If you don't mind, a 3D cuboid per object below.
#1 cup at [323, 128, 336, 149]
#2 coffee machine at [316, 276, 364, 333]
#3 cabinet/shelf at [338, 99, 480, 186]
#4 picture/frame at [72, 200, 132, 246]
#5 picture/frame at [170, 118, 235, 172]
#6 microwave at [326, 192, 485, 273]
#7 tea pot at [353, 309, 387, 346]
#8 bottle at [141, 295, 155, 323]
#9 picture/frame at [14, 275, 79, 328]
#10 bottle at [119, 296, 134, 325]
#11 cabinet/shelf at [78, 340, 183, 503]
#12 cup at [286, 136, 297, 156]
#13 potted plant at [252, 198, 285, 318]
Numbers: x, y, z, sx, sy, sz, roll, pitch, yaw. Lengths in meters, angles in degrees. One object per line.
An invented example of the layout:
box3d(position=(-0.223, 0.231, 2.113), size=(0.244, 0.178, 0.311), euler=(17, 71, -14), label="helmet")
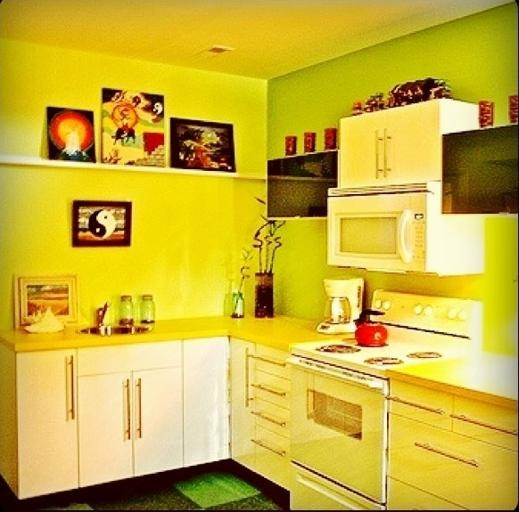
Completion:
box3d(position=(0.457, -0.759, 3.060), size=(0.074, 0.162, 0.244), euler=(-5, 7, 6), label="cup")
box3d(position=(0.486, 0.304, 3.017), size=(0.321, 0.388, 0.312), euler=(4, -3, -35), label="coffee machine")
box3d(position=(0.745, -0.585, 2.504), size=(0.253, 0.408, 0.686), euler=(-11, 9, -40), label="cabinet/shelf")
box3d(position=(-1.120, -0.236, 3.324), size=(0.335, 0.284, 0.037), euler=(0, 1, -33), label="picture/frame")
box3d(position=(-0.468, -0.872, 3.706), size=(0.485, 0.341, 0.032), euler=(0, -2, -31), label="picture/frame")
box3d(position=(0.702, -0.135, 2.500), size=(0.815, 0.460, 0.360), euler=(2, 10, 45), label="microwave")
box3d(position=(0.620, 0.403, 2.689), size=(0.197, 0.200, 0.196), euler=(-1, -1, 0), label="tea pot")
box3d(position=(-0.804, 0.375, 3.391), size=(0.103, 0.193, 0.203), euler=(-7, 7, -13), label="bottle")
box3d(position=(-1.412, 0.296, 3.103), size=(0.351, 0.296, 0.027), euler=(1, -4, -30), label="picture/frame")
box3d(position=(-0.934, 0.377, 3.336), size=(0.109, 0.184, 0.263), euler=(-7, 7, -15), label="bottle")
box3d(position=(-0.871, 1.000, 3.268), size=(0.808, 1.096, 0.728), euler=(1, -3, -33), label="cabinet/shelf")
box3d(position=(0.220, -0.775, 3.330), size=(0.070, 0.154, 0.217), euler=(-5, 7, 3), label="cup")
box3d(position=(0.073, -0.008, 3.841), size=(0.307, 0.926, 0.566), euler=(-4, 7, 7), label="potted plant")
